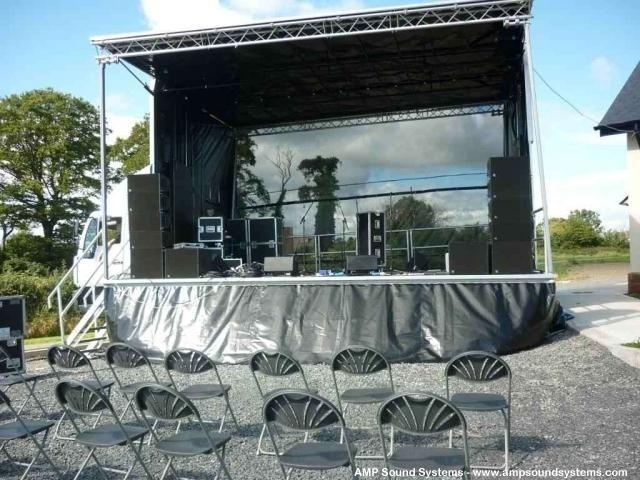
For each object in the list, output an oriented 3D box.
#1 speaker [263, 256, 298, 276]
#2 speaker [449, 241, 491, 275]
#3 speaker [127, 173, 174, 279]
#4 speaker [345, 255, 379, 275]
[{"bbox_3d":[-0.719,0.483,11.297,0.387,0.276,0.408,0,-4,11],"label":"speaker"},{"bbox_3d":[2.604,0.116,10.582,0.692,0.656,0.771,0,29,16],"label":"speaker"},{"bbox_3d":[-3.200,-0.256,11.129,0.688,1.867,0.234,-1,1,11],"label":"speaker"},{"bbox_3d":[0.751,0.456,11.143,0.550,0.272,0.452,-2,2,0],"label":"speaker"}]
